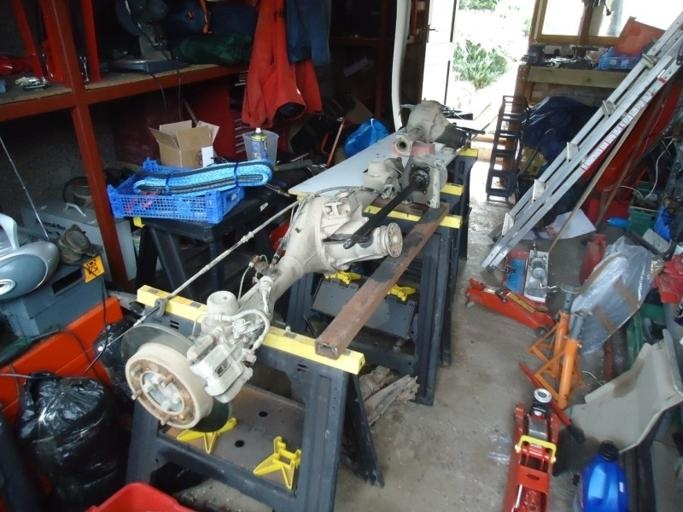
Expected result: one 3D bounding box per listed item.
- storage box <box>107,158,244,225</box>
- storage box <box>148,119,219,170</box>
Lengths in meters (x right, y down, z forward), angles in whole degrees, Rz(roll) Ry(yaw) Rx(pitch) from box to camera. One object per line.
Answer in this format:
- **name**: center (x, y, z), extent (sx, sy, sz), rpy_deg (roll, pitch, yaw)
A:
- **storage box**: center (-0.910, -0.291, 2.835), extent (0.494, 0.158, 0.404), rpy_deg (9, 43, 10)
- **storage box**: center (-0.943, -0.666, 3.145), extent (0.191, 0.264, 0.364), rpy_deg (18, 27, 30)
